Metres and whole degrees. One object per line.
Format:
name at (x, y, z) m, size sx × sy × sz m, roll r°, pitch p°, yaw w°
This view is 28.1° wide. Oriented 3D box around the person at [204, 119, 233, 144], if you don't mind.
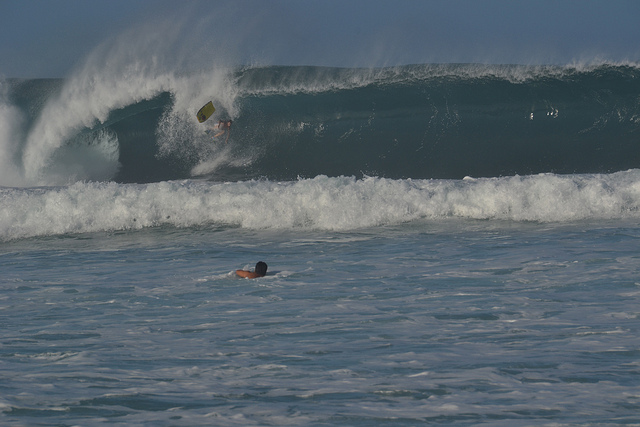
person at (-2.881, -2.376, 37.062) m, size 0.772 × 0.185 × 0.669 m, roll -22°, pitch 59°, yaw 14°
